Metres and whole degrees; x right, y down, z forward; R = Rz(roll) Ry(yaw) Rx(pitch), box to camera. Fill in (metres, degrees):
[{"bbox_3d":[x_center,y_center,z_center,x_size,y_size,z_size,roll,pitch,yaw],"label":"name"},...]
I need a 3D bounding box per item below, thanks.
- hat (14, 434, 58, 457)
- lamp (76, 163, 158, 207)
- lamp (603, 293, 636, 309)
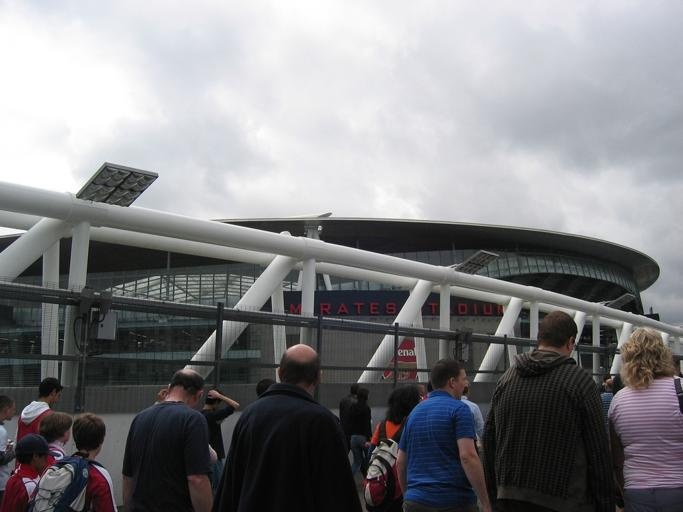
[{"bbox_3d":[-2.728,1.631,5.284,0.232,0.129,0.167,4,-3,-37],"label":"hat"},{"bbox_3d":[-4.034,-1.253,10.787,0.943,0.386,1.601,17,-21,-35],"label":"lamp"},{"bbox_3d":[20.091,3.060,43.602,1.313,0.415,4.094,-29,-27,30],"label":"lamp"}]
